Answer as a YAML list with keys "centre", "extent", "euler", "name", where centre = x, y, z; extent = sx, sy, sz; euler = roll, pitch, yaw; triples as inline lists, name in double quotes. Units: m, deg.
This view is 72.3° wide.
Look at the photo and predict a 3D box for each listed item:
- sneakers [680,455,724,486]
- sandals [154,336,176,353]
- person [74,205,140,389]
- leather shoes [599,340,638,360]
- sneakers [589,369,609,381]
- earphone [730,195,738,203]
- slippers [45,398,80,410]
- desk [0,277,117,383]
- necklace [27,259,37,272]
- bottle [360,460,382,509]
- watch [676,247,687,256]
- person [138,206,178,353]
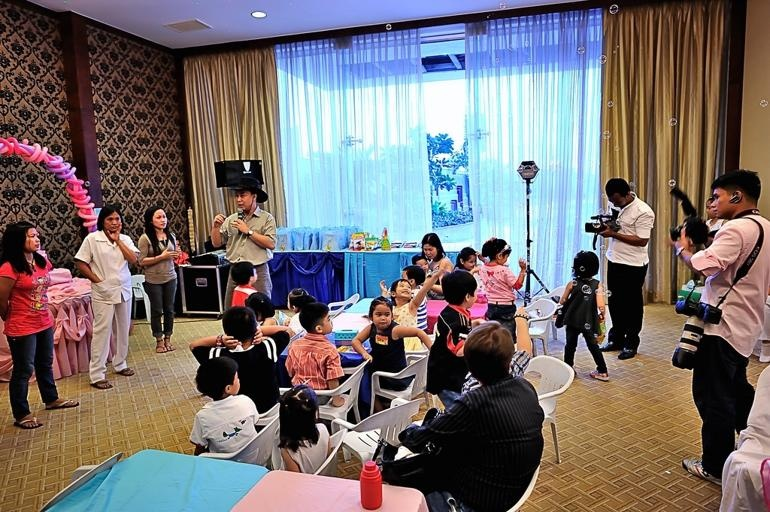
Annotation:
- centre: [2.272, 1.542, 3.799]
  extent: [0.090, 0.099, 0.243]
  euler: [-12, 19, -39]
  name: "sneakers"
- centre: [-2.575, 1.018, 6.131]
  extent: [0.147, 0.071, 0.195]
  euler: [-2, 13, -25]
  name: "sandals"
- centre: [-2.770, 0.395, 5.315]
  extent: [0.563, 1.784, 0.319]
  euler: [-9, 9, -32]
  name: "person"
- centre: [2.499, 1.009, 5.641]
  extent: [0.419, 0.184, 0.138]
  euler: [9, 17, 41]
  name: "leather shoes"
- centre: [2.058, 1.157, 5.111]
  extent: [0.173, 0.081, 0.076]
  euler: [19, 29, 40]
  name: "sneakers"
- centre: [2.347, -0.383, 3.557]
  extent: [0.034, 0.046, 0.038]
  euler: [13, 58, 32]
  name: "earphone"
- centre: [-2.995, 1.379, 4.889]
  extent: [0.278, 0.082, 0.108]
  euler: [-1, 11, -15]
  name: "slippers"
- centre: [-3.555, 0.686, 5.663]
  extent: [1.006, 0.671, 0.999]
  euler: [-1, 3, -31]
  name: "desk"
- centre: [-3.031, 0.089, 4.529]
  extent: [0.063, 0.089, 0.032]
  euler: [-2, 1, -32]
  name: "necklace"
- centre: [-0.078, 1.168, 2.703]
  extent: [0.120, 0.231, 0.088]
  euler: [-4, 8, -2]
  name: "bottle"
- centre: [2.123, -0.033, 3.795]
  extent: [0.046, 0.033, 0.049]
  euler: [-7, -11, -13]
  name: "watch"
- centre: [-2.562, 0.261, 6.080]
  extent: [0.430, 1.658, 0.588]
  euler: [-7, 8, -22]
  name: "person"
